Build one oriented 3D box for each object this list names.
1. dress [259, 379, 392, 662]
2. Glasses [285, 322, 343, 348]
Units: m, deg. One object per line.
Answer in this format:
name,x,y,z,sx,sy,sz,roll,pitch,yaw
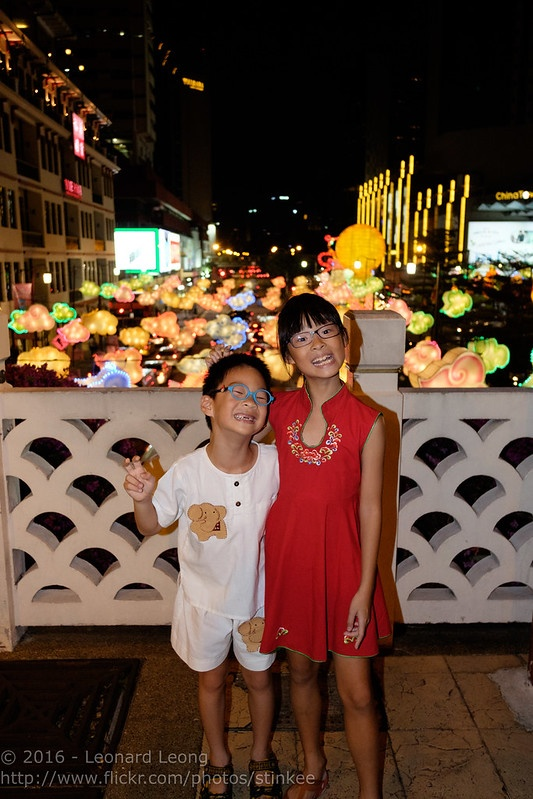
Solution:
dress,0.199,0.449,2.368,0.421,0.988,0.439,1,15,3
Glasses,0.175,-0.232,2.308,0.180,0.085,0.053,1,15,2
